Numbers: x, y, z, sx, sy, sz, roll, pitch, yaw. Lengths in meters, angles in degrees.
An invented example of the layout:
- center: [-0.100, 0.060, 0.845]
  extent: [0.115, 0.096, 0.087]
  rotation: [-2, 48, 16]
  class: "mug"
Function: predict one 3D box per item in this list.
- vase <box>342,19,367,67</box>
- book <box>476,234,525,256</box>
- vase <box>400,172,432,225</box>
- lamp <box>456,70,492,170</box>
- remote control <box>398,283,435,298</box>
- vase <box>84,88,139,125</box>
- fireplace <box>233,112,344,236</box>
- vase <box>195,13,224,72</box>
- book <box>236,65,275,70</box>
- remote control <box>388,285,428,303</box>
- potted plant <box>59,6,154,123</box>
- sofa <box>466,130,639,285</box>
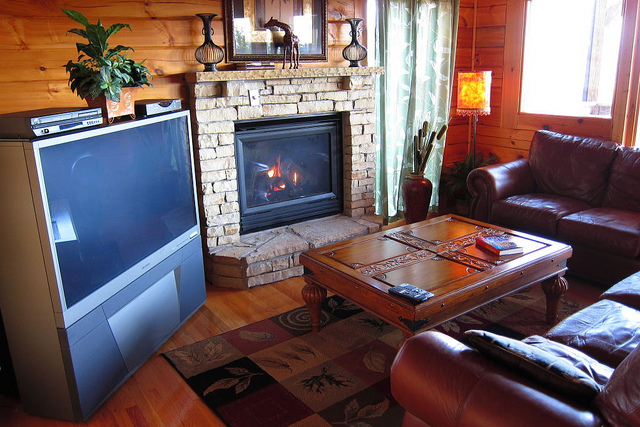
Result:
- center: [0.330, -1.676, 4.238]
  extent: [0.232, 0.443, 0.176]
  rotation: [-13, 20, -21]
  class: "vase"
- center: [1.273, 0.224, 3.058]
  extent: [0.170, 0.034, 0.170]
  rotation: [-5, 26, -25]
  class: "book"
- center: [1.025, -0.162, 4.564]
  extent: [0.307, 0.545, 0.250]
  rotation: [0, 20, 15]
  class: "vase"
- center: [1.801, -1.031, 4.969]
  extent: [0.388, 1.340, 0.366]
  rotation: [-2, 32, 15]
  class: "lamp"
- center: [0.579, 0.467, 2.569]
  extent: [0.153, 0.025, 0.255]
  rotation: [-5, 11, -36]
  class: "remote control"
- center: [-1.339, -0.708, 2.763]
  extent: [0.277, 0.200, 0.324]
  rotation: [14, 23, 37]
  class: "vase"
- center: [-0.344, -0.400, 4.196]
  extent: [1.137, 0.973, 0.430]
  rotation: [-11, 19, -28]
  class: "fireplace"
- center: [-0.957, -1.455, 3.649]
  extent: [0.239, 0.484, 0.252]
  rotation: [-8, 19, -8]
  class: "vase"
- center: [-0.567, -1.306, 3.843]
  extent: [0.336, 0.049, 0.153]
  rotation: [-10, 18, -17]
  class: "book"
- center: [0.523, 0.478, 2.533]
  extent: [0.130, 0.016, 0.095]
  rotation: [17, 20, 36]
  class: "remote control"
- center: [-1.324, -0.910, 2.677]
  extent: [0.454, 0.659, 0.315]
  rotation: [-15, 21, -25]
  class: "potted plant"
- center: [2.105, -0.033, 3.766]
  extent: [0.720, 0.772, 1.322]
  rotation: [-18, 25, -36]
  class: "sofa"
